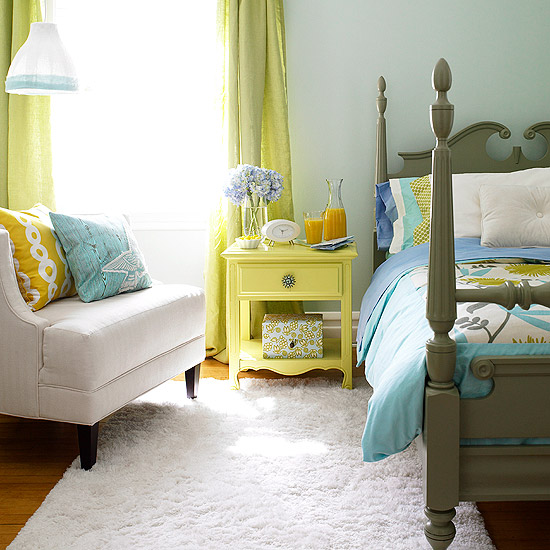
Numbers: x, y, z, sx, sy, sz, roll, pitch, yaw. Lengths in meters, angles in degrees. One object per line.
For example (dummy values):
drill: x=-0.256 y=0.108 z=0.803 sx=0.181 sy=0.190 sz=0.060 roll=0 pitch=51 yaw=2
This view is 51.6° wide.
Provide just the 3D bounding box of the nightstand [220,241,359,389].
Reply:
nightstand: x=0.040 y=0.080 z=2.796 sx=0.720 sy=0.883 sz=0.570 roll=0 pitch=5 yaw=3

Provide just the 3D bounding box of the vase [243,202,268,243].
vase: x=-0.085 y=-0.248 z=2.636 sx=0.140 sy=0.255 sz=0.141 roll=-1 pitch=6 yaw=-4

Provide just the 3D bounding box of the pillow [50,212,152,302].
pillow: x=-0.671 y=-0.069 z=2.156 sx=0.104 sy=0.356 sz=0.367 roll=-21 pitch=-4 yaw=26

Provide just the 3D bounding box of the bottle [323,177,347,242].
bottle: x=0.289 y=-0.322 z=2.807 sx=0.108 sy=0.291 sz=0.184 roll=0 pitch=9 yaw=2

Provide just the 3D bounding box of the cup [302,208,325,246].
cup: x=0.189 y=-0.227 z=2.754 sx=0.091 sy=0.156 sz=0.120 roll=1 pitch=9 yaw=12

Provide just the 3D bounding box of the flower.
flower: x=-0.092 y=-0.344 z=2.665 sx=0.250 sy=0.323 sz=0.222 roll=3 pitch=9 yaw=18
